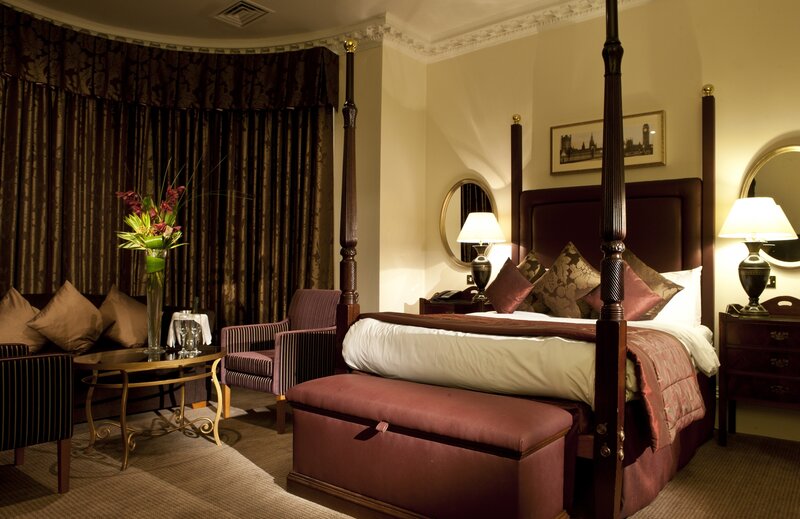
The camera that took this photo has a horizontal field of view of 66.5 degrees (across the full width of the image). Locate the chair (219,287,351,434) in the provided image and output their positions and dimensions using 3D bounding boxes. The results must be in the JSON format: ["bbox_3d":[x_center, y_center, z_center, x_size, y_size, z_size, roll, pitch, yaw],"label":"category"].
[{"bbox_3d":[-1.235,0.918,6.191,1.119,1.658,1.217,-1,-3,33],"label":"chair"}]

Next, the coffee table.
[{"bbox_3d":[-2.118,1.034,5.115,0.889,0.746,1.132,-3,-5,34],"label":"coffee table"}]

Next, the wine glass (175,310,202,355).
[{"bbox_3d":[-1.788,0.623,5.160,0.208,0.334,0.339,-5,14,-22],"label":"wine glass"}]

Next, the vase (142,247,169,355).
[{"bbox_3d":[-2.101,0.360,5.289,0.203,0.902,0.582,-5,14,-22],"label":"vase"}]

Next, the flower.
[{"bbox_3d":[-2.042,-0.063,5.397,0.937,1.547,0.871,-2,-9,22],"label":"flower"}]

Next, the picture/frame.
[{"bbox_3d":[2.030,-1.112,5.796,0.970,0.561,0.038,-2,-7,35],"label":"picture/frame"}]

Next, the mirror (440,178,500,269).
[{"bbox_3d":[0.827,-0.404,6.891,0.071,1.436,0.952,2,0,-44],"label":"mirror"}]
